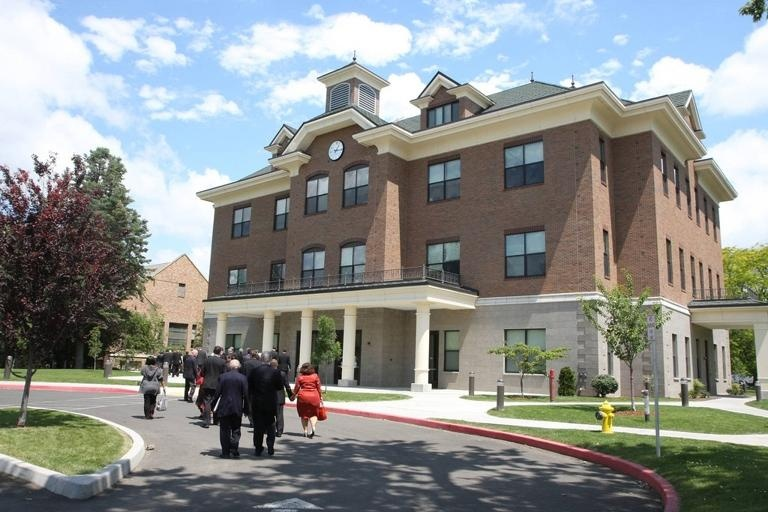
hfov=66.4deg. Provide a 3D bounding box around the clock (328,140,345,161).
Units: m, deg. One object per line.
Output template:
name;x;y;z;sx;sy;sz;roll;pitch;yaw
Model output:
clock;-3.092;-6.962;38.540;1.594;1.448;0.158;5;-8;40

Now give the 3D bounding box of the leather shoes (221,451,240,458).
leather shoes;-3.732;4.794;14.253;0.505;0.199;0.186;-8;-16;36
